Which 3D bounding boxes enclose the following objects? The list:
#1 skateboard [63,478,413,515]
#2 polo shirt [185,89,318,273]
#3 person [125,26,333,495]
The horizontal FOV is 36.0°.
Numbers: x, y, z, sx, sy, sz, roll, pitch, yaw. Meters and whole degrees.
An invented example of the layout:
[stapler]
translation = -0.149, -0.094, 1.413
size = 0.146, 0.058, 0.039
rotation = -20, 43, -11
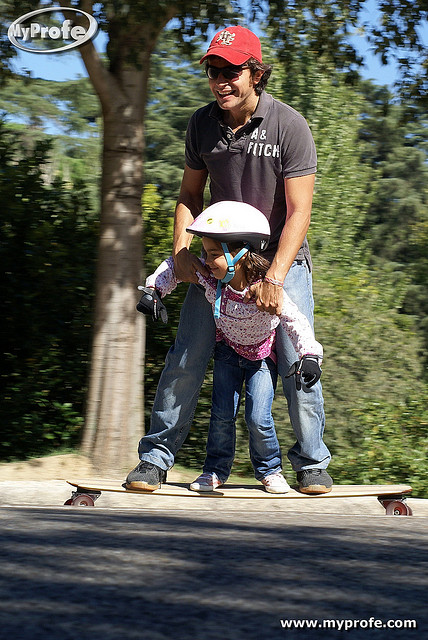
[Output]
[skateboard]
translation = 0.085, 0.765, 2.835
size = 1.170, 0.109, 0.226
rotation = 1, -1, -3
[polo shirt]
translation = 0.112, -0.637, 2.849
size = 0.621, 0.661, 0.378
rotation = 16, 32, 11
[person]
translation = 0.067, -0.193, 2.904
size = 1.062, 2.043, 0.914
rotation = 4, 10, 16
